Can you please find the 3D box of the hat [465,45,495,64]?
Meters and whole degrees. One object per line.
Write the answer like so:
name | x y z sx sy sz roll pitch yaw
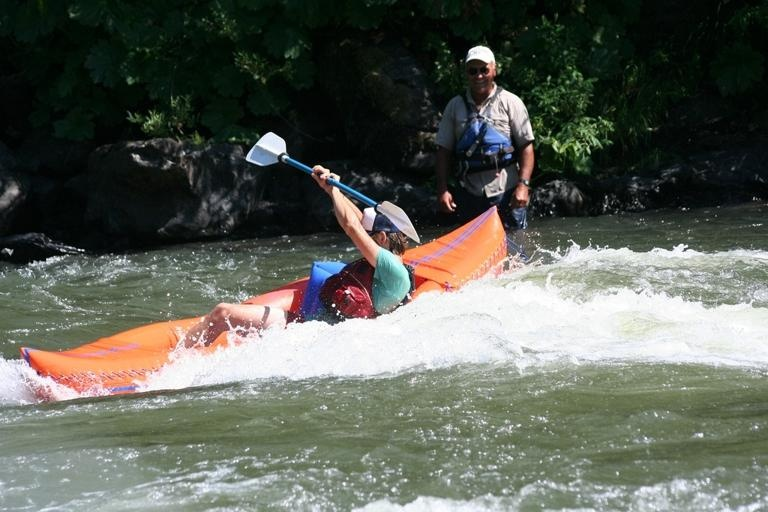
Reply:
hat | 1.086 -2.247 10.514 0.223 0.190 0.330 -2 -19 13

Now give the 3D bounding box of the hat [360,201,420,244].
hat | 0.075 -0.267 8.577 0.501 0.268 0.315 20 20 5

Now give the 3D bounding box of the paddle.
paddle | -0.675 -0.844 12.134 3.204 0.612 0.244 30 -3 28
